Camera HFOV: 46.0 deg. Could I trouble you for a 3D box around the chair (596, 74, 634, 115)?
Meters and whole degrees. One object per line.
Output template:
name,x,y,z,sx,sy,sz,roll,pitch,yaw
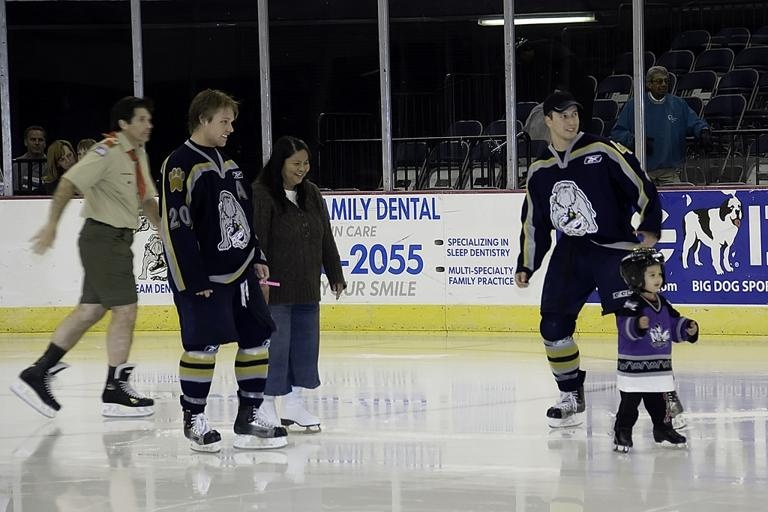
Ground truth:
chair,2.741,-1.913,10.599,0.327,0.379,0.434,15,-1,37

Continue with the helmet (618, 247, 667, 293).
helmet,1.794,0.083,6.357,0.315,0.286,0.276,-16,-4,28

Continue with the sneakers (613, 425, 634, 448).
sneakers,1.644,1.268,6.256,0.142,0.170,0.101,4,10,31

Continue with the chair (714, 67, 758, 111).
chair,4.269,-1.984,10.803,0.509,0.692,0.521,0,11,24

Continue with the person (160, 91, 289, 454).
person,-1.161,0.119,6.375,0.755,2.534,0.411,-4,9,-14

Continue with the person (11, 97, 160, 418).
person,-2.348,0.002,7.283,1.143,2.542,0.658,-6,9,-24

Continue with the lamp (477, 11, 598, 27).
lamp,1.795,-2.806,10.651,1.378,0.150,0.098,0,9,8

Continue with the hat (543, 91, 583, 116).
hat,1.321,-1.118,6.718,0.185,0.130,0.245,-14,-1,-38

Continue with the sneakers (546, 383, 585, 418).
sneakers,1.382,1.129,6.902,0.425,0.255,0.147,-1,-3,-34

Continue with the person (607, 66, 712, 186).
person,3.194,-1.246,10.393,1.120,1.629,0.543,-4,20,14

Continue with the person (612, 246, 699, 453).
person,1.874,0.651,6.275,0.580,1.380,0.342,-1,8,2

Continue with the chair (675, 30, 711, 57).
chair,3.538,-2.488,10.408,0.297,0.358,0.389,-5,1,2

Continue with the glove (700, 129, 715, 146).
glove,3.610,-1.329,10.100,0.136,0.190,0.073,-1,7,12

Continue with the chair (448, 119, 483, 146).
chair,0.966,-1.467,10.701,0.279,0.363,0.321,0,4,27

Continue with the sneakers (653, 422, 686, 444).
sneakers,1.982,1.258,6.353,0.241,0.138,0.117,-5,-4,28

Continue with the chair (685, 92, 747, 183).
chair,3.785,-1.344,10.309,0.601,0.977,0.799,2,9,21

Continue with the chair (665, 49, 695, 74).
chair,3.365,-2.234,10.339,0.273,0.339,0.298,0,3,14

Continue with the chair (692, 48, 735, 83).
chair,3.859,-2.245,10.589,0.362,0.453,0.386,0,3,21
